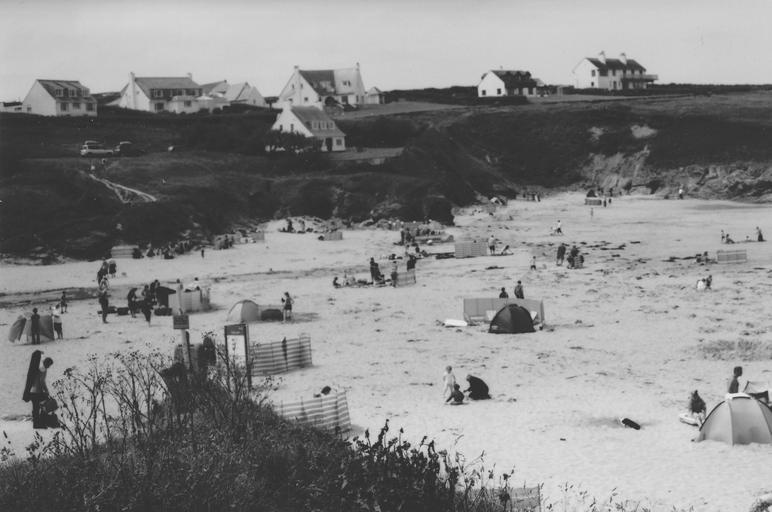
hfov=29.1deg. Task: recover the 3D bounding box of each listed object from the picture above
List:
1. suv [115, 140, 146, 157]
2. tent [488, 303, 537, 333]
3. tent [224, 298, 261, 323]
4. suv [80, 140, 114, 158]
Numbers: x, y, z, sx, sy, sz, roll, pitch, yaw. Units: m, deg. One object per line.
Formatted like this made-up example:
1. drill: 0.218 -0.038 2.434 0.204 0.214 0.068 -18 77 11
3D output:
1. suv: -26.784 -11.159 155.574 2.102 0.807 2.134 8 9 40
2. tent: 8.775 4.496 103.659 2.020 1.110 2.373 2 6 26
3. tent: -10.201 3.943 106.314 2.522 1.656 2.448 -3 0 -2
4. suv: -29.706 -10.848 151.902 2.705 1.338 2.079 2 2 10
